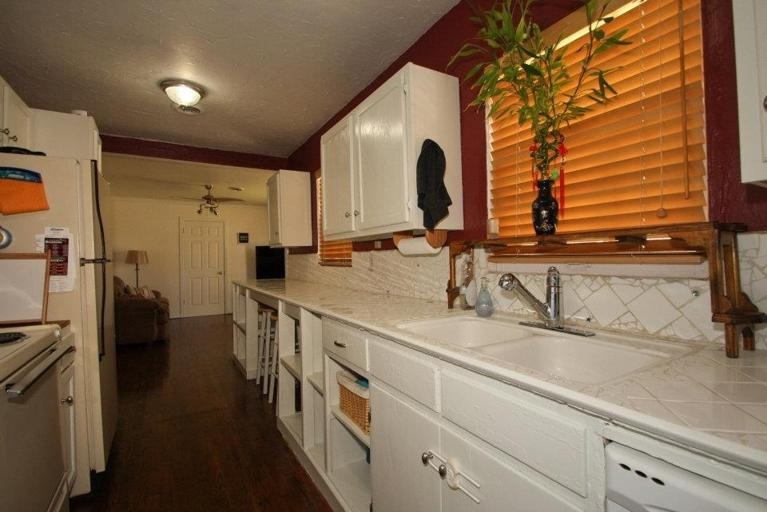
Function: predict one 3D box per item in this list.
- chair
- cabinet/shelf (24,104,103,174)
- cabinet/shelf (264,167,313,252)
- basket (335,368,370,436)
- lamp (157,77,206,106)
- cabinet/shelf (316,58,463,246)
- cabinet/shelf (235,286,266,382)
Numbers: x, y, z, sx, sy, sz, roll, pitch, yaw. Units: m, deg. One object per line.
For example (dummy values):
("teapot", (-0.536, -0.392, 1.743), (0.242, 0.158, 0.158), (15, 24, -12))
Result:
("chair", (-3.326, 0.665, 7.003), (0.736, 0.732, 1.341), (0, 4, -26))
("cabinet/shelf", (-2.405, -0.810, 3.920), (0.437, 0.535, 0.344), (0, -12, -25))
("cabinet/shelf", (-0.998, -0.507, 5.547), (0.463, 0.815, 0.326), (-2, 14, -8))
("basket", (-0.187, 0.869, 3.078), (0.220, 0.186, 0.292), (2, 3, -6))
("lamp", (-1.705, -1.382, 4.383), (0.379, 0.215, 0.328), (-8, 15, -29))
("cabinet/shelf", (0.064, -0.709, 3.541), (0.553, 1.019, 1.422), (3, -6, -28))
("cabinet/shelf", (-1.386, 0.743, 5.512), (0.373, 0.894, 1.061), (0, 2, -25))
